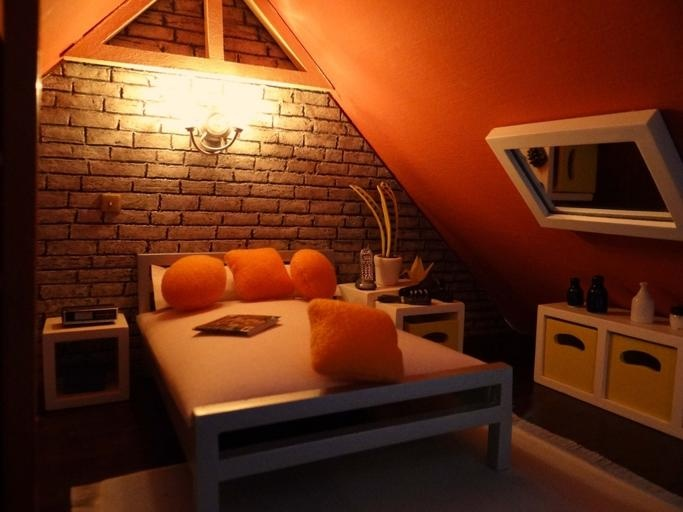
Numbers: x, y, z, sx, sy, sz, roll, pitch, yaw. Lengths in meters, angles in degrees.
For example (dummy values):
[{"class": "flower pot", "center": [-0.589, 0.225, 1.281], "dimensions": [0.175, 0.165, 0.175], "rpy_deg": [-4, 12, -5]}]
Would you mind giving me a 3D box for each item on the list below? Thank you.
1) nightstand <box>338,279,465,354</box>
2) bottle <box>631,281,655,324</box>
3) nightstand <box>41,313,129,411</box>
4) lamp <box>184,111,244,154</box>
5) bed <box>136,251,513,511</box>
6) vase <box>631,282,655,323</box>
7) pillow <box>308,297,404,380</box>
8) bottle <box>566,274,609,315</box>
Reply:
[{"class": "nightstand", "center": [0.464, 0.377, 3.497], "dimensions": [0.474, 0.417, 0.650], "rpy_deg": [-3, 10, -22]}, {"class": "bottle", "center": [1.736, 0.266, 2.751], "dimensions": [0.109, 0.228, 0.151], "rpy_deg": [5, 8, 31]}, {"class": "nightstand", "center": [-1.554, 0.633, 2.991], "dimensions": [0.505, 0.427, 0.516], "rpy_deg": [-1, 3, -22]}, {"class": "lamp", "center": [-0.861, -0.839, 3.267], "dimensions": [0.392, 0.278, 0.229], "rpy_deg": [-2, 7, -19]}, {"class": "bed", "center": [-0.167, 0.605, 2.380], "dimensions": [1.364, 0.640, 1.370], "rpy_deg": [-3, 7, -28]}, {"class": "vase", "center": [1.736, 0.266, 2.751], "dimensions": [0.109, 0.228, 0.151], "rpy_deg": [5, 8, 31]}, {"class": "pillow", "center": [0.056, 0.322, 1.844], "dimensions": [0.342, 0.299, 0.172], "rpy_deg": [4, -27, -6]}, {"class": "bottle", "center": [1.558, 0.248, 3.017], "dimensions": [0.106, 0.177, 0.264], "rpy_deg": [0, 2, -21]}]
